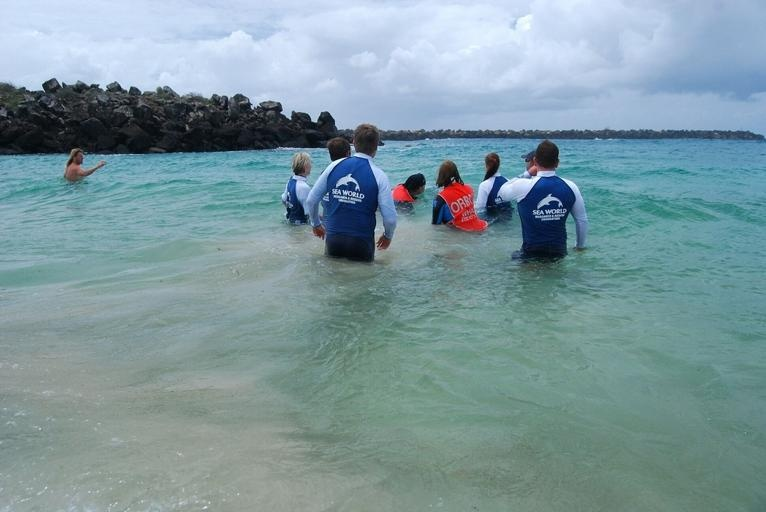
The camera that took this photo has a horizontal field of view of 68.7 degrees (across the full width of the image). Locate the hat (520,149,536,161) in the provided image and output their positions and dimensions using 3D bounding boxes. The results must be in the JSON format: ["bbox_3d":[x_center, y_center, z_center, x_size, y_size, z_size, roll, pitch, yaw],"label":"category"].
[{"bbox_3d":[2.796,-1.956,10.737,0.308,0.157,0.174,16,50,10],"label":"hat"}]

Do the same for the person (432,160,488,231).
[{"bbox_3d":[1.372,-1.112,10.414,0.909,1.338,0.448,-10,16,-28],"label":"person"}]

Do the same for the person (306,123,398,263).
[{"bbox_3d":[-0.472,-0.927,8.512,1.377,2.070,0.518,4,16,27],"label":"person"}]

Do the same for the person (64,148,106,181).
[{"bbox_3d":[-9.307,-2.806,17.107,0.865,0.916,2.302,-9,14,-26],"label":"person"}]

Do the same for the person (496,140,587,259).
[{"bbox_3d":[2.502,-0.874,8.712,1.172,1.788,0.303,-1,15,7],"label":"person"}]
